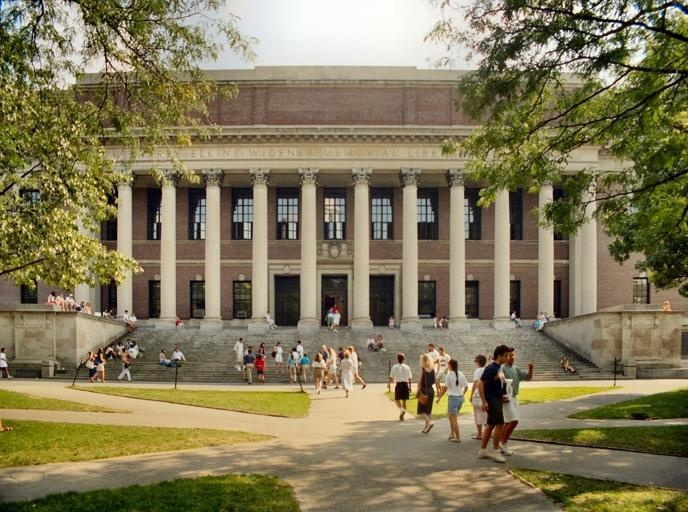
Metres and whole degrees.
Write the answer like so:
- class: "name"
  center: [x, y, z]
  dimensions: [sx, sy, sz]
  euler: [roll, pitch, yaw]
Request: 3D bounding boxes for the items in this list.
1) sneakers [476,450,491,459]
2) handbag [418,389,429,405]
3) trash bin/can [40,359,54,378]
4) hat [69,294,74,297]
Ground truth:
- class: "sneakers"
  center: [4.090, 5.789, 28.523]
  dimensions: [0.394, 0.254, 0.165]
  euler: [2, -1, -33]
- class: "handbag"
  center: [2.569, 4.554, 31.445]
  dimensions: [0.183, 0.410, 0.394]
  euler: [-18, -1, -36]
- class: "trash bin/can"
  center: [-14.181, 5.419, 46.517]
  dimensions: [0.676, 1.248, 0.698]
  euler: [-2, -4, 1]
- class: "hat"
  center: [-15.550, 2.292, 56.057]
  dimensions: [0.250, 0.179, 0.259]
  euler: [2, 5, 22]
